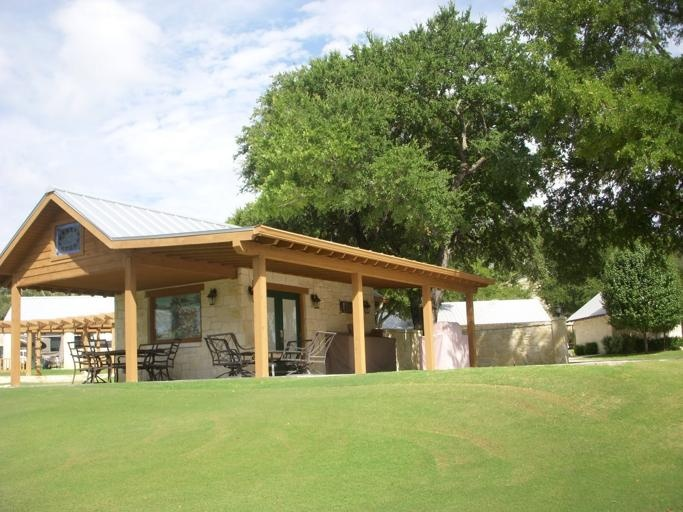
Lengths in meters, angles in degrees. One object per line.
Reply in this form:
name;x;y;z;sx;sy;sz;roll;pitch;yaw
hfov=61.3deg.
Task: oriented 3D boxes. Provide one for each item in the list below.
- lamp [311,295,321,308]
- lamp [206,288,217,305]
lamp;-0.818;1.437;18.434;0.341;0.509;0.351;-5;-5;23
lamp;-3.702;1.159;16.542;0.314;0.462;0.187;3;8;23
